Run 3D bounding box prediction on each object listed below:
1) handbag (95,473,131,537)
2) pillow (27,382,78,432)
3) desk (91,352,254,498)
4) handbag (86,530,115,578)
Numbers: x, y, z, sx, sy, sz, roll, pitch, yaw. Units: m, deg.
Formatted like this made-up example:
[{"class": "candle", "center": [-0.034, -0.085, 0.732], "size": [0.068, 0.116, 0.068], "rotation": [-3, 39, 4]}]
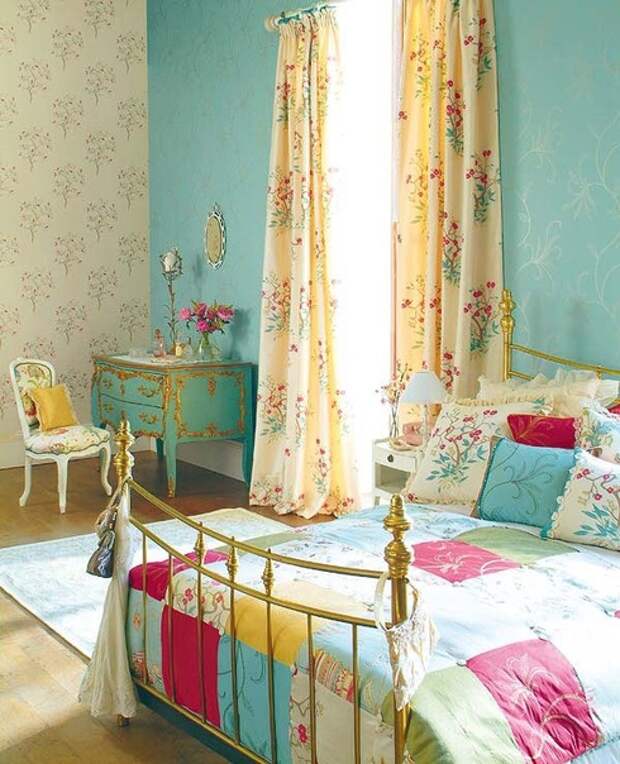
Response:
[{"class": "handbag", "center": [-0.545, 0.357, 1.722], "size": [0.056, 0.201, 0.053], "rotation": [27, 0, -5]}, {"class": "pillow", "center": [-1.725, 0.171, 4.182], "size": [0.088, 0.283, 0.300], "rotation": [-18, -9, 30]}, {"class": "desk", "center": [-1.121, 0.274, 4.932], "size": [0.764, 0.893, 1.375], "rotation": [-3, 6, -38]}, {"class": "handbag", "center": [-0.576, 0.484, 1.721], "size": [0.075, 0.156, 0.096], "rotation": [-4, 5, -18]}]
